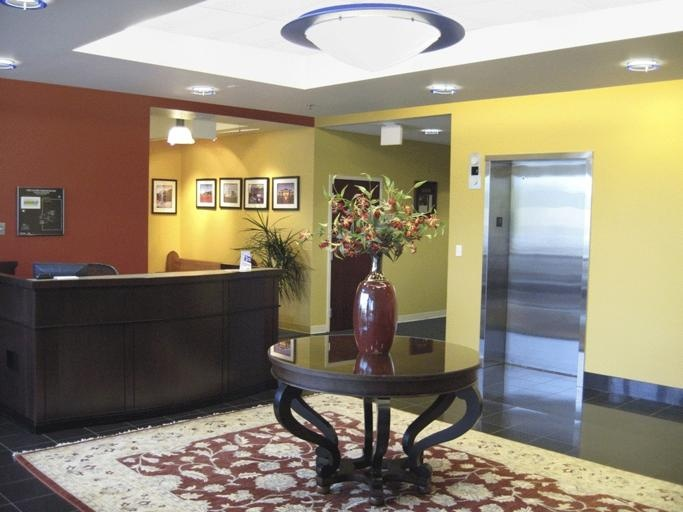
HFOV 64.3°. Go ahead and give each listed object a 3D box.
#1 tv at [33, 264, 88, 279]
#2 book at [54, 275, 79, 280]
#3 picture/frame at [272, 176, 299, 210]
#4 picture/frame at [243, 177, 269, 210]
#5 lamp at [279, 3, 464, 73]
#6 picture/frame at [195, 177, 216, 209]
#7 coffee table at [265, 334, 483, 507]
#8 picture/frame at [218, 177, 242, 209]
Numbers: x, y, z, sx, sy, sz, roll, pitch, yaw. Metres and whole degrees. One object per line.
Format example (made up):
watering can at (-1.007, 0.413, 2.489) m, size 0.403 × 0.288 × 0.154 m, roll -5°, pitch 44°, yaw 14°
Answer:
tv at (-2.829, 0.137, 5.419) m, size 0.601 × 0.122 × 0.216 m, roll 3°, pitch 5°, yaw 30°
book at (-2.547, 0.203, 5.038) m, size 0.197 × 0.025 × 0.460 m, roll -1°, pitch 5°, yaw -27°
picture/frame at (-0.944, -1.071, 9.340) m, size 0.670 × 0.611 × 0.051 m, roll 0°, pitch -2°, yaw 36°
picture/frame at (-1.512, -1.106, 9.749) m, size 0.658 × 0.605 × 0.052 m, roll 1°, pitch 3°, yaw 40°
lamp at (0.298, -1.693, 4.220) m, size 1.314 × 0.304 × 1.242 m, roll 0°, pitch -1°, yaw 6°
picture/frame at (-2.643, -1.225, 10.650) m, size 0.676 × 0.621 × 0.033 m, roll 3°, pitch 6°, yaw 44°
coffee table at (0.259, 1.127, 3.962) m, size 1.310 × 0.745 × 1.200 m, roll 0°, pitch -1°, yaw 11°
picture/frame at (-2.063, -1.174, 10.177) m, size 0.681 × 0.628 × 0.052 m, roll 1°, pitch 4°, yaw 43°
